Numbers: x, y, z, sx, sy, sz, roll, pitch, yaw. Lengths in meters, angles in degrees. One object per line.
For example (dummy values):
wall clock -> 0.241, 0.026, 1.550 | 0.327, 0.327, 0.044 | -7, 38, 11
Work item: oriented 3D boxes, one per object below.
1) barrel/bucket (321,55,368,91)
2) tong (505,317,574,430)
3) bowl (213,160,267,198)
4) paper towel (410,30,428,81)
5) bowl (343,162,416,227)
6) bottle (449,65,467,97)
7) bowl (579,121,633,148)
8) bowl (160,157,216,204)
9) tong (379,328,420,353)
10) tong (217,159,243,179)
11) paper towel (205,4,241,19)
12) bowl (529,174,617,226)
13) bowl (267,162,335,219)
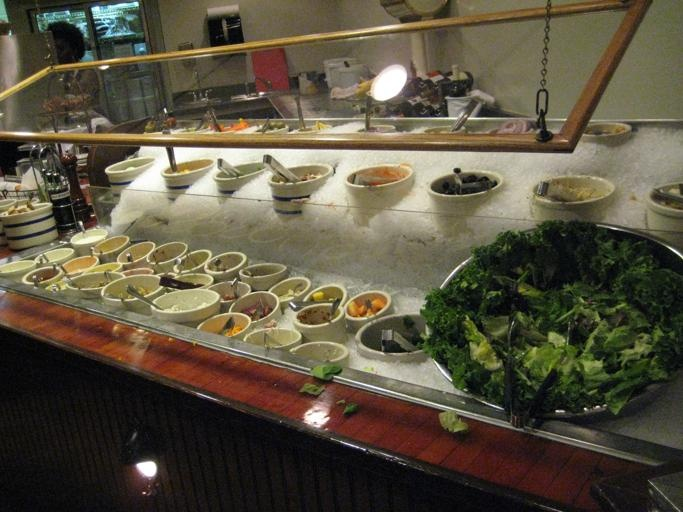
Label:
barrel/bucket -> 0.026, -0.609, 1.567 | 0.139, 0.112, 0.093 | 23, 63, 27
tong -> 0.417, 0.242, 1.025 | 0.182, 0.063, 0.226 | 8, 72, 11
bowl -> -0.373, -0.277, 1.679 | 0.224, 0.106, 0.124 | 19, 37, 32
paper towel -> 0.224, -0.585, 1.406 | 0.053, 0.222, 0.044 | -29, 78, 3
bowl -> 0.114, -0.188, 1.438 | 0.198, 0.165, 0.153 | -2, 33, 0
bottle -> 0.338, -0.514, 1.396 | 0.047, 0.075, 0.168 | 5, 30, 11
bowl -> 0.695, -0.320, 1.261 | 0.112, 0.046, 0.103 | -1, 29, 1
bowl -> -0.576, -0.307, 1.809 | 0.224, 0.106, 0.144 | -1, 31, 1
tong -> 0.155, 0.235, 1.318 | 0.039, 0.148, 0.029 | -22, 58, 36
tong -> -0.396, -0.299, 1.698 | 0.059, 0.103, 0.020 | -26, 53, 38
paper towel -> -1.618, -3.392, 6.685 | 0.493, 0.100, 0.080 | -1, 36, 25
bowl -> 0.580, -0.137, 1.241 | 0.207, 0.068, 0.163 | 4, 27, 9
bowl -> -0.100, -0.196, 1.582 | 0.231, 0.128, 0.189 | -12, 23, 9
